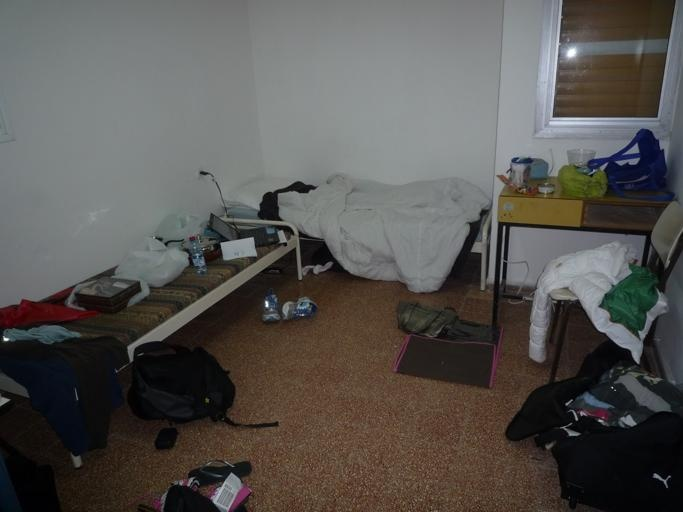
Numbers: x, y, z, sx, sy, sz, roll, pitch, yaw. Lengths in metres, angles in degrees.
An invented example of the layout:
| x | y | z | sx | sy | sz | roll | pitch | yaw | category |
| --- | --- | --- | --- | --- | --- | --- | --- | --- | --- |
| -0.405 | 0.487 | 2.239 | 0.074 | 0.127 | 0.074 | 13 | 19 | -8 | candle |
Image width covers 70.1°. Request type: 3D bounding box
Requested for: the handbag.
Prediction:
| x | y | z | sx | sy | sz | roll | pitch | yaw | category |
| --- | --- | --- | --- | --- | --- | --- | --- | --- | --- |
| 1.046 | 0.805 | 2.521 | 0.482 | 0.149 | 0.243 | -29 | 64 | 1 | handbag |

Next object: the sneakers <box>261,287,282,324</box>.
| x | y | z | sx | sy | sz | roll | pitch | yaw | category |
| --- | --- | --- | --- | --- | --- | --- | --- | --- | --- |
| -0.530 | 0.374 | 3.669 | 0.137 | 0.165 | 0.383 | -3 | 11 | -5 | sneakers |

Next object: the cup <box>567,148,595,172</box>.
| x | y | z | sx | sy | sz | roll | pitch | yaw | category |
| --- | --- | --- | --- | --- | --- | --- | --- | --- | --- |
| 1.509 | -0.624 | 3.032 | 0.172 | 0.159 | 0.200 | -2 | 14 | 5 | cup |

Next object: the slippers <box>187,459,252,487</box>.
| x | y | z | sx | sy | sz | roll | pitch | yaw | category |
| --- | --- | --- | --- | --- | --- | --- | --- | --- | --- |
| -0.614 | 1.076 | 2.446 | 0.295 | 0.073 | 0.119 | -6 | 23 | -18 | slippers |

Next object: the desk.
| x | y | z | sx | sy | sz | roll | pitch | yaw | category |
| --- | --- | --- | --- | --- | --- | --- | --- | --- | --- |
| 1.491 | -0.003 | 3.195 | 0.865 | 0.789 | 0.521 | 6 | 14 | 24 | desk |

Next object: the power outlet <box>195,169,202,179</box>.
| x | y | z | sx | sy | sz | roll | pitch | yaw | category |
| --- | --- | --- | --- | --- | --- | --- | --- | --- | --- |
| -1.249 | -0.718 | 4.268 | 0.038 | 0.066 | 0.066 | 10 | 14 | 10 | power outlet |

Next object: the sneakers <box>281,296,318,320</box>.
| x | y | z | sx | sy | sz | roll | pitch | yaw | category |
| --- | --- | --- | --- | --- | --- | --- | --- | --- | --- |
| -0.315 | 0.378 | 3.569 | 0.201 | 0.098 | 0.155 | -1 | 31 | 13 | sneakers |

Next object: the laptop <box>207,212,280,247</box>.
| x | y | z | sx | sy | sz | roll | pitch | yaw | category |
| --- | --- | --- | --- | --- | --- | --- | --- | --- | --- |
| -0.768 | -0.191 | 3.878 | 0.424 | 0.164 | 0.310 | -3 | 25 | -1 | laptop |

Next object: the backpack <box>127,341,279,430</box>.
| x | y | z | sx | sy | sz | roll | pitch | yaw | category |
| --- | --- | --- | --- | --- | --- | --- | --- | --- | --- |
| -0.778 | 0.641 | 2.720 | 0.687 | 0.261 | 0.510 | 5 | 34 | -35 | backpack |

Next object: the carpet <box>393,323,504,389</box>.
| x | y | z | sx | sy | sz | roll | pitch | yaw | category |
| --- | --- | --- | --- | --- | --- | --- | --- | --- | --- |
| 0.678 | 0.624 | 3.037 | 0.379 | 0.107 | 0.373 | 4 | 29 | 18 | carpet |

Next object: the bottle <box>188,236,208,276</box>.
| x | y | z | sx | sy | sz | roll | pitch | yaw | category |
| --- | --- | --- | --- | --- | --- | --- | --- | --- | --- |
| -1.027 | 0.005 | 3.458 | 0.070 | 0.272 | 0.095 | -32 | -7 | 15 | bottle |
